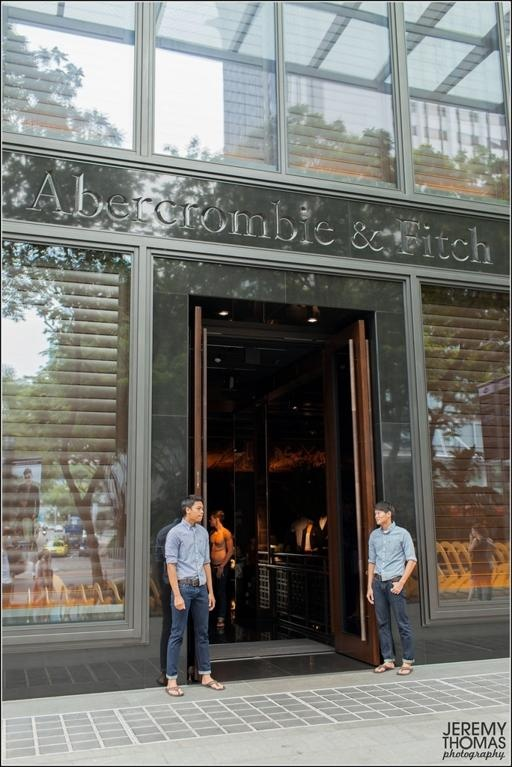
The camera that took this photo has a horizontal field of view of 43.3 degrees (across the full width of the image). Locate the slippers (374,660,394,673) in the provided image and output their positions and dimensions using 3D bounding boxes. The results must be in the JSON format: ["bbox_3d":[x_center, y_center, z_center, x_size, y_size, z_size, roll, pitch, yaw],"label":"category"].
[{"bbox_3d":[1.222,2.663,6.035,0.231,0.091,0.079,14,-26,-34],"label":"slippers"}]

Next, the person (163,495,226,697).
[{"bbox_3d":[-0.549,1.742,5.392,0.458,1.552,0.648,-5,-15,22],"label":"person"}]

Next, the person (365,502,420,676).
[{"bbox_3d":[1.298,1.949,6.222,0.430,1.545,0.419,-1,-14,4],"label":"person"}]

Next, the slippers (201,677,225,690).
[{"bbox_3d":[-0.355,2.487,5.357,0.175,0.070,0.091,-1,-7,30],"label":"slippers"}]

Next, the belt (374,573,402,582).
[{"bbox_3d":[1.250,1.875,6.177,0.250,0.081,0.081,-12,-18,41],"label":"belt"}]

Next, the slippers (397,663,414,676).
[{"bbox_3d":[1.387,2.651,5.977,0.072,0.078,0.195,-8,-17,18],"label":"slippers"}]

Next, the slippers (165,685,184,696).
[{"bbox_3d":[-0.639,2.424,5.088,0.132,0.073,0.116,2,-14,-7],"label":"slippers"}]
